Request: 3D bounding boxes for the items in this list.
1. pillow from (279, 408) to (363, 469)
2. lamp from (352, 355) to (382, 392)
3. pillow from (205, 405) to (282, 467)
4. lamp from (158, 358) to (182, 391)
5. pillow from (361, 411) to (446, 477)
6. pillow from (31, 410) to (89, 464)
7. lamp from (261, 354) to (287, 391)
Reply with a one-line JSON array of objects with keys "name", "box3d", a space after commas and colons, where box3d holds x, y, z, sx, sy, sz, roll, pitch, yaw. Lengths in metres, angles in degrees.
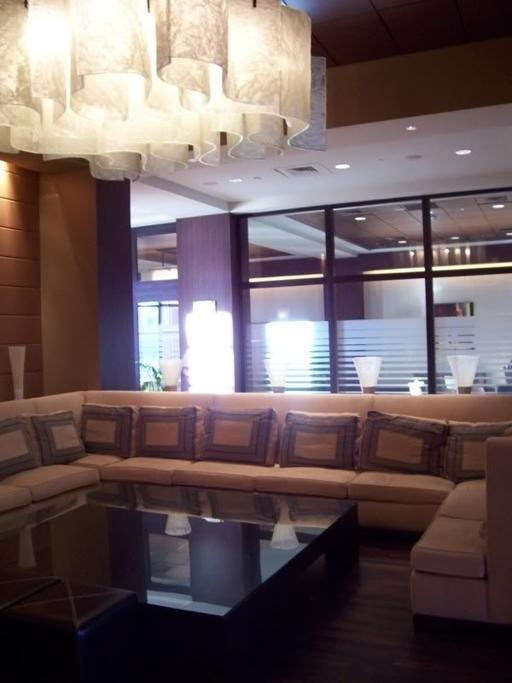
[{"name": "pillow", "box3d": [0.418, 0.682, 3.774, 0.517, 0.392, 0.202, -1, -7, 23]}, {"name": "lamp", "box3d": [0.826, 0.253, 4.167, 0.188, 0.267, 0.287, -1, -1, 12]}, {"name": "pillow", "box3d": [-0.137, 0.661, 4.006, 0.537, 0.412, 0.198, 1, -3, 24]}, {"name": "lamp", "box3d": [-0.743, 0.292, 4.856, 0.176, 0.265, 0.212, -1, -1, -9]}, {"name": "pillow", "box3d": [0.894, 0.632, 3.502, 0.556, 0.257, 0.200, -2, -1, 29]}, {"name": "pillow", "box3d": [-1.379, 0.663, 4.152, 0.503, 0.501, 0.140, -2, 15, 23]}, {"name": "lamp", "box3d": [0.157, 0.277, 4.480, 0.169, 0.265, 0.350, -1, -1, 1]}]
